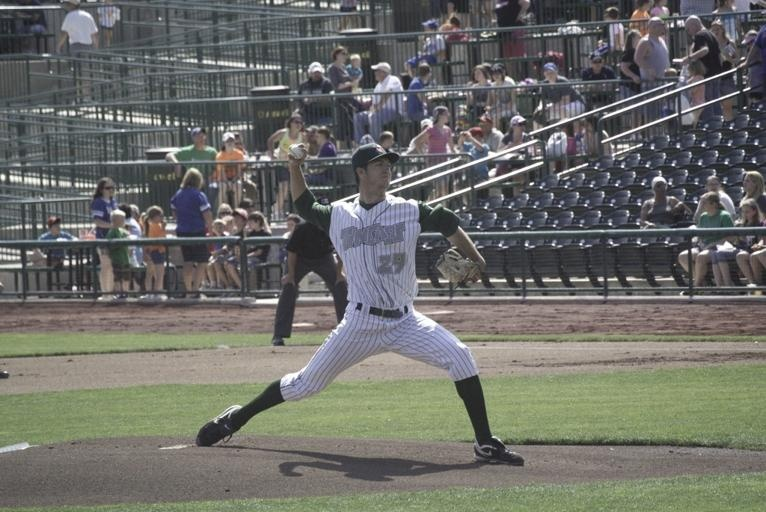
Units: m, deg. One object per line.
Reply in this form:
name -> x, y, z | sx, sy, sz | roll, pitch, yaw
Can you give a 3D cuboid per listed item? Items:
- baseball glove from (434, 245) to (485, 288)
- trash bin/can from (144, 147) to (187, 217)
baseball glove -> 1.277, 0.142, 34.539 | 0.700, 0.492, 0.322 | 32, 31, 10
trash bin/can -> -4.851, -1.591, 45.224 | 0.798, 1.621, 0.851 | 3, -4, 0
